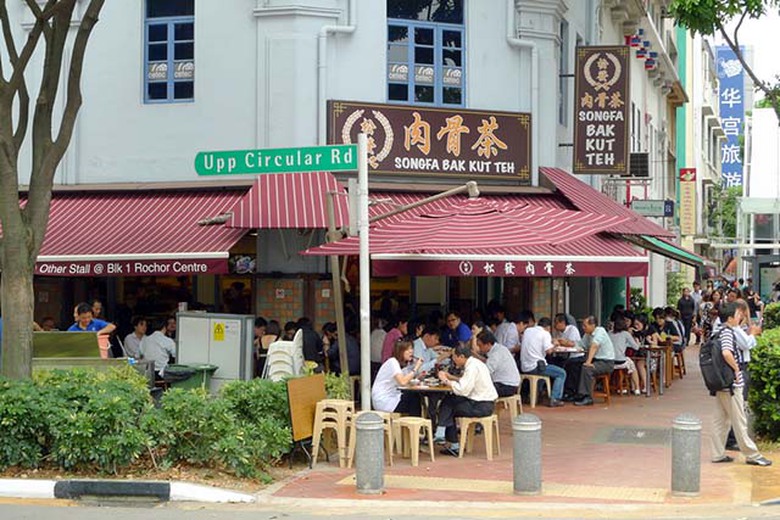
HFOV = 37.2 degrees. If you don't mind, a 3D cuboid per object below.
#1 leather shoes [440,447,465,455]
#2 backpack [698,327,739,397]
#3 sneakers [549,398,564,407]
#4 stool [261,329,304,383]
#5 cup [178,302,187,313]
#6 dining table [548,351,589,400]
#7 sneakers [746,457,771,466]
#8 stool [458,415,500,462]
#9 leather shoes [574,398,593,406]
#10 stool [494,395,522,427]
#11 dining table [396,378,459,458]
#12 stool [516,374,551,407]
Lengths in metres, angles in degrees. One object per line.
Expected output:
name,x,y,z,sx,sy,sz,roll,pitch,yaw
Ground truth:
leather shoes,1.078,3.449,20.776,0.380,0.162,0.142,6,1,23
backpack,5.488,1.718,19.541,0.587,1.114,0.346,-3,-4,22
sneakers,3.566,3.078,25.001,0.314,0.243,0.123,-5,5,-14
stool,-1.987,1.893,22.135,0.774,1.024,0.802,1,-3,6
cup,-4.476,1.052,25.203,0.148,0.161,0.149,-1,-4,0
dining table,3.988,2.589,25.805,0.979,0.678,1.010,1,-8,-2
sneakers,6.208,3.417,19.548,0.298,0.119,0.172,-3,-3,14
stool,1.569,3.225,20.814,0.737,0.764,0.768,-1,-8,12
leather shoes,4.163,3.072,25.087,0.373,0.178,0.165,0,-4,1
stool,2.247,2.914,22.555,0.620,0.558,0.648,-2,-1,30
dining table,0.608,2.862,21.101,1.154,1.328,1.214,-1,-8,11
stool,3.037,2.825,25.088,0.668,0.658,0.684,-4,-6,43
